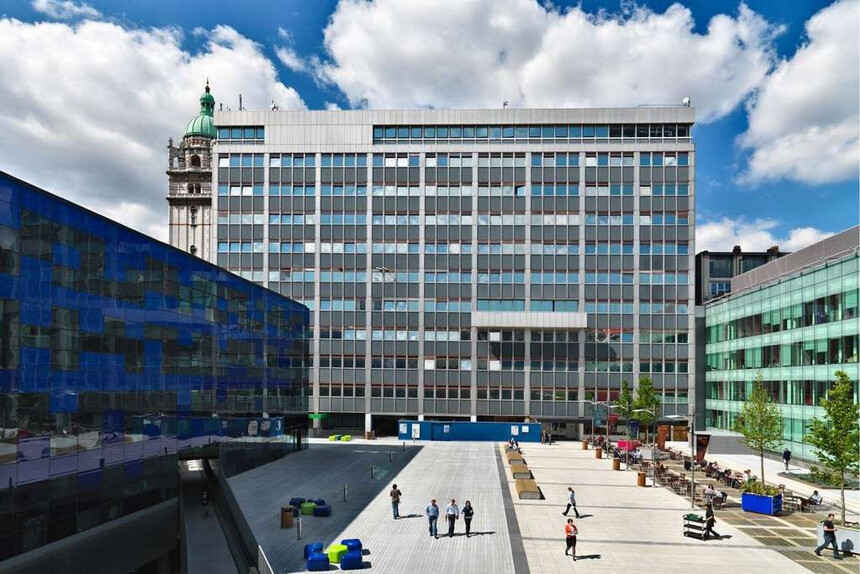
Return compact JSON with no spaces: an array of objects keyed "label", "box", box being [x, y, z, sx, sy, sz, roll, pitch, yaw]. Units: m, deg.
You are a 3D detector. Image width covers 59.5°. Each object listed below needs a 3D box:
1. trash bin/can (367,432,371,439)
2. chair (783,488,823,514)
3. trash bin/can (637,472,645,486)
[{"label":"trash bin/can","box":[-7.424,18.428,94.210,0.675,0.993,2.389,0,-13,-6]},{"label":"chair","box":[28.736,16.384,57.903,2.626,1.407,2.465,-7,-14,23]},{"label":"trash bin/can","box":[18.394,16.516,64.919,0.726,1.163,1.652,-4,-13,14]}]
